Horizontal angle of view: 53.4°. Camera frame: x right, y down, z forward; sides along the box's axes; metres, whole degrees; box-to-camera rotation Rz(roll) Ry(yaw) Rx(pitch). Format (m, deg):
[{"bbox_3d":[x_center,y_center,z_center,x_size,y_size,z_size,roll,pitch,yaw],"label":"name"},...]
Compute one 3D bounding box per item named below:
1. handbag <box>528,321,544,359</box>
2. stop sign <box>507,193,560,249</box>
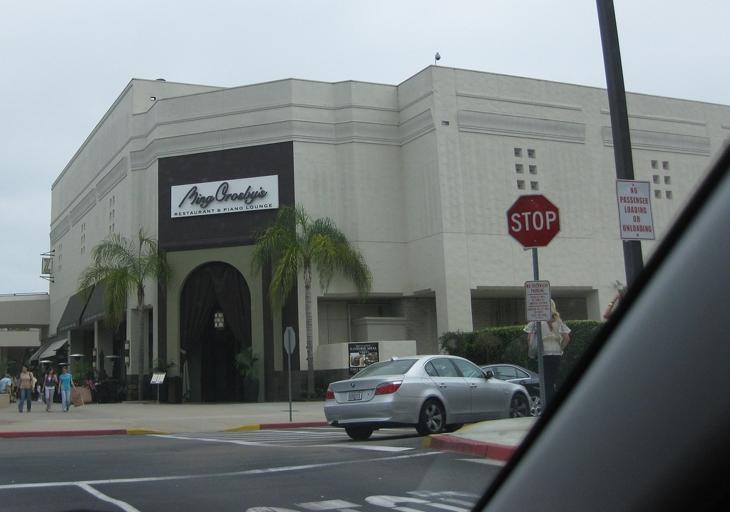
[{"bbox_3d":[2.605,1.265,11.053,0.261,0.711,0.497,2,-11,3],"label":"handbag"},{"bbox_3d":[2.459,-0.527,10.650,0.730,0.786,0.699,-14,-4,14],"label":"stop sign"}]
